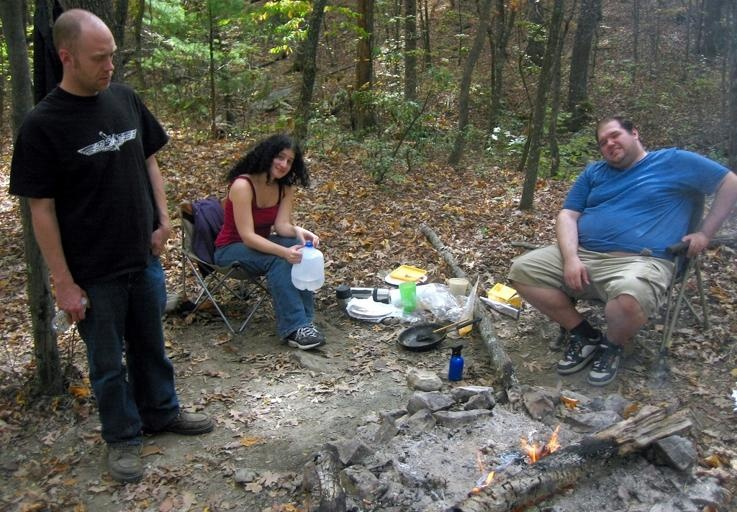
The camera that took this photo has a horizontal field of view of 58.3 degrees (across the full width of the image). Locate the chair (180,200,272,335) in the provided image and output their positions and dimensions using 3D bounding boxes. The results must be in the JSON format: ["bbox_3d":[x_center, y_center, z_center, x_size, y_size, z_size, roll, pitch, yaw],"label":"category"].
[{"bbox_3d":[-1.560,-0.006,7.213,0.938,1.086,0.826,13,18,12],"label":"chair"}]

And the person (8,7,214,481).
[{"bbox_3d":[-2.002,-0.069,5.245,1.096,3.522,1.040,16,25,30],"label":"person"}]

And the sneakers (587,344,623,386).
[{"bbox_3d":[2.156,0.985,6.027,0.198,0.221,0.525,13,41,32],"label":"sneakers"}]

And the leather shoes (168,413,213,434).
[{"bbox_3d":[-1.515,1.438,5.635,0.420,0.179,0.155,-1,23,1],"label":"leather shoes"}]

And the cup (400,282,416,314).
[{"bbox_3d":[0.409,0.447,7.053,0.187,0.313,0.130,4,21,2],"label":"cup"}]

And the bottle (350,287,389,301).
[{"bbox_3d":[0.024,0.423,7.268,0.438,0.133,0.157,-2,-7,17],"label":"bottle"}]

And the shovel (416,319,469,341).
[{"bbox_3d":[0.751,0.753,6.710,0.083,0.079,0.400,17,-33,-42],"label":"shovel"}]

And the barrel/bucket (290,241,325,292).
[{"bbox_3d":[-0.630,0.120,6.660,0.326,0.523,0.154,-1,22,-12],"label":"barrel/bucket"}]

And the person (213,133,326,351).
[{"bbox_3d":[-0.957,-0.212,6.750,0.834,1.949,1.390,-17,29,-41],"label":"person"}]

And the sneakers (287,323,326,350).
[{"bbox_3d":[-0.630,0.800,6.550,0.387,0.224,0.218,0,21,-7],"label":"sneakers"}]

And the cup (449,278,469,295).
[{"bbox_3d":[0.971,0.334,7.294,0.167,0.143,0.202,-12,15,-35],"label":"cup"}]

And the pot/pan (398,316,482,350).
[{"bbox_3d":[0.642,0.787,6.665,0.655,0.091,0.352,-14,17,-11],"label":"pot/pan"}]

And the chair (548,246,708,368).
[{"bbox_3d":[2.524,0.463,6.805,1.277,1.541,1.155,1,-1,-43],"label":"chair"}]
